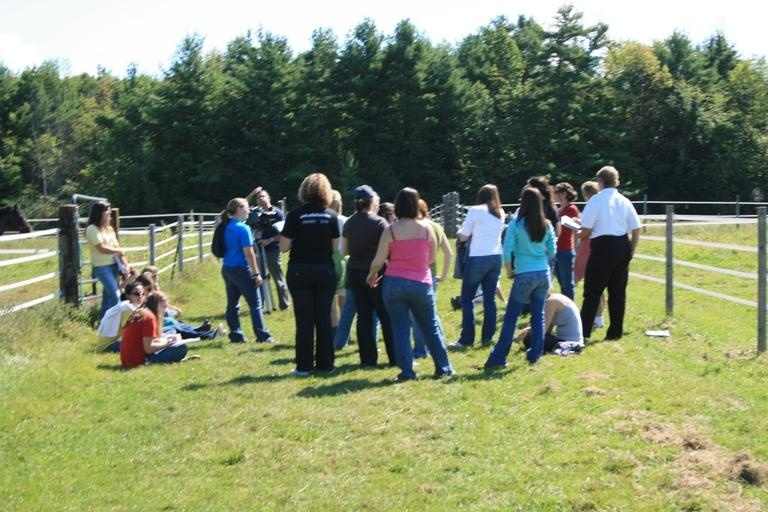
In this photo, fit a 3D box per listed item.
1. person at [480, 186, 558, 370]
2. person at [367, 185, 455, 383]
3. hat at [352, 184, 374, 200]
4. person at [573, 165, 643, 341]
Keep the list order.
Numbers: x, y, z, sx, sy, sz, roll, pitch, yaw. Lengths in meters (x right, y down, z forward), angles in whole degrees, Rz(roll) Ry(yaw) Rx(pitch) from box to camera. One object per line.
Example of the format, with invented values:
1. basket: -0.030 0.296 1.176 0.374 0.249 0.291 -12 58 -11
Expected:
1. person: 2.094 0.363 12.660 0.885 2.727 0.372 -5 6 -23
2. person: 0.378 0.444 12.357 1.094 2.896 0.405 -2 5 1
3. hat: -0.302 -0.985 13.005 0.270 0.204 0.396 4 16 25
4. person: 3.741 -0.024 13.779 0.975 2.893 0.553 -2 5 2
